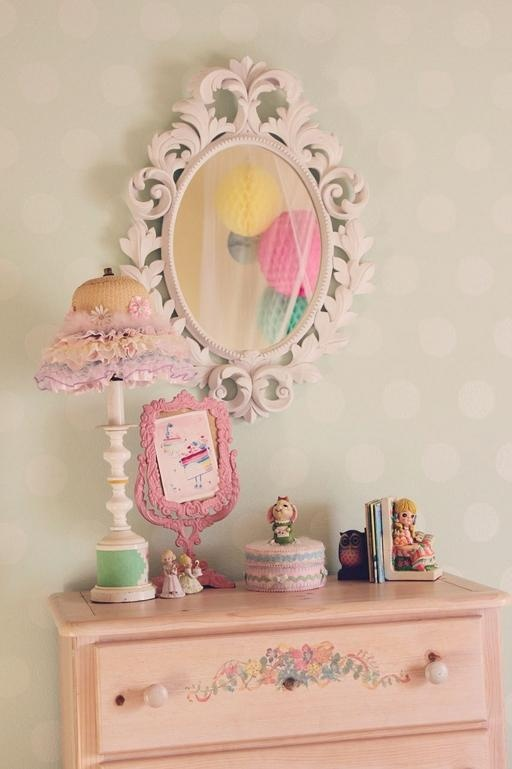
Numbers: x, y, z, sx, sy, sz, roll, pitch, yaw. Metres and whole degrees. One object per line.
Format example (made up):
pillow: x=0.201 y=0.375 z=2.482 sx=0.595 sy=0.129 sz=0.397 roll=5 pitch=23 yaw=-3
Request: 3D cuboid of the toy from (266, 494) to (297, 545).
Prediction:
toy: x=0.060 y=0.308 z=1.847 sx=0.059 sy=0.106 sz=0.100 roll=-3 pitch=-10 yaw=1

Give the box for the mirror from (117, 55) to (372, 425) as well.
mirror: x=-0.012 y=-0.346 z=2.071 sx=0.767 sy=0.850 sz=0.020 roll=-7 pitch=14 yaw=-33

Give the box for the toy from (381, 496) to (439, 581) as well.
toy: x=0.353 y=0.356 z=1.868 sx=0.126 sy=0.187 sz=0.074 roll=-4 pitch=-11 yaw=10

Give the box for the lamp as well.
lamp: x=-0.293 y=0.106 z=1.788 sx=0.323 sy=0.716 sz=0.392 roll=-3 pitch=-11 yaw=5
